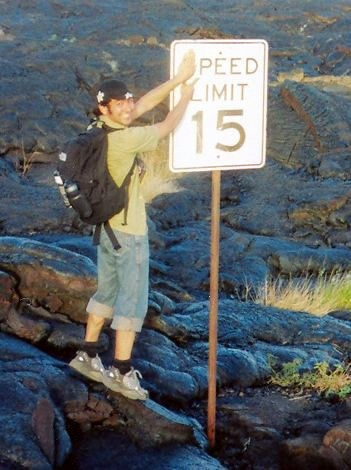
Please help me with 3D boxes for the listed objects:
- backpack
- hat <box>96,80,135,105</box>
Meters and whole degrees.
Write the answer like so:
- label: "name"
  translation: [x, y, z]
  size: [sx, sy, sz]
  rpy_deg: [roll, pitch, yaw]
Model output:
- label: "backpack"
  translation: [-0.518, -0.289, 4.244]
  size: [0.570, 0.858, 0.494]
  rpy_deg: [-5, 12, -6]
- label: "hat"
  translation: [-0.432, -0.999, 4.180]
  size: [0.217, 0.159, 0.151]
  rpy_deg: [19, 45, 26]
